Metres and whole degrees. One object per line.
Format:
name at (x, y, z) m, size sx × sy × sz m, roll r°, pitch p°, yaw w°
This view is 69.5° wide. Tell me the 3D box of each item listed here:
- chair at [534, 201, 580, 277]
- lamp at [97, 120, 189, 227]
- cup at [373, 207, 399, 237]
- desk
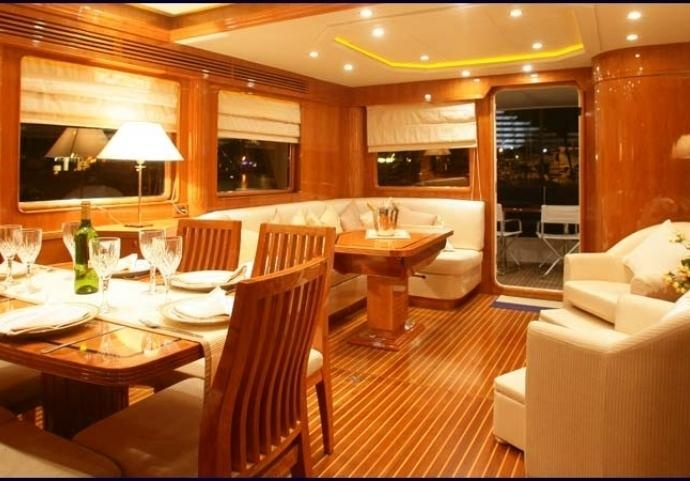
chair at (2.757, -0.019, 6.398) m, size 0.645 × 0.783 × 0.576 m, roll 0°, pitch -8°, yaw -6°
lamp at (-1.742, -0.560, 4.208) m, size 0.616 × 0.789 × 0.633 m, roll -17°, pitch 53°, yaw -32°
cup at (0.351, -0.170, 4.584) m, size 0.260 × 0.256 × 0.256 m, roll 1°, pitch -2°, yaw 0°
desk at (0.408, 0.393, 4.350) m, size 1.144 × 0.830 × 0.921 m, roll 0°, pitch 0°, yaw 29°
